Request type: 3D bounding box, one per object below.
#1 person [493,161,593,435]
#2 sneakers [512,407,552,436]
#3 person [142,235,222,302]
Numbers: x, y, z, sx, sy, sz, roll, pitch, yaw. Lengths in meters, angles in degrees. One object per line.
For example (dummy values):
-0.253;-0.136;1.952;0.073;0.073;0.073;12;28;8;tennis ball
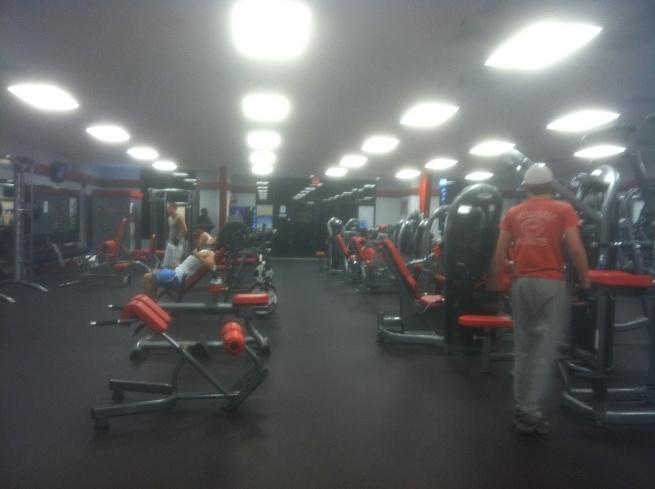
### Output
1.657;0.360;3.947;0.692;1.994;0.819;1;3;28;person
1.495;1.291;3.703;0.196;0.086;0.161;-3;-2;26;sneakers
-1.700;0.244;6.027;1.000;0.762;0.608;-5;9;-21;person
